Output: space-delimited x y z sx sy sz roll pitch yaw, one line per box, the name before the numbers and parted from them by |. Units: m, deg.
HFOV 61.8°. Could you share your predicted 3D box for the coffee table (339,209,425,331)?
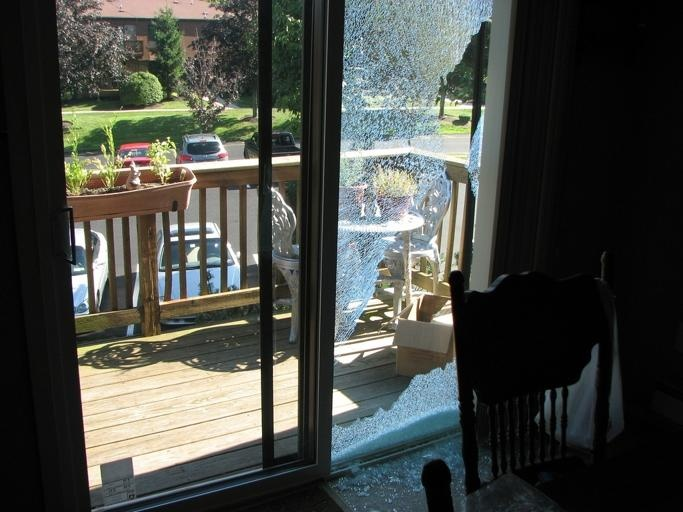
coffee table | 0.154 0.020 2.803 0.440 0.535 0.462 -4 20 -6
